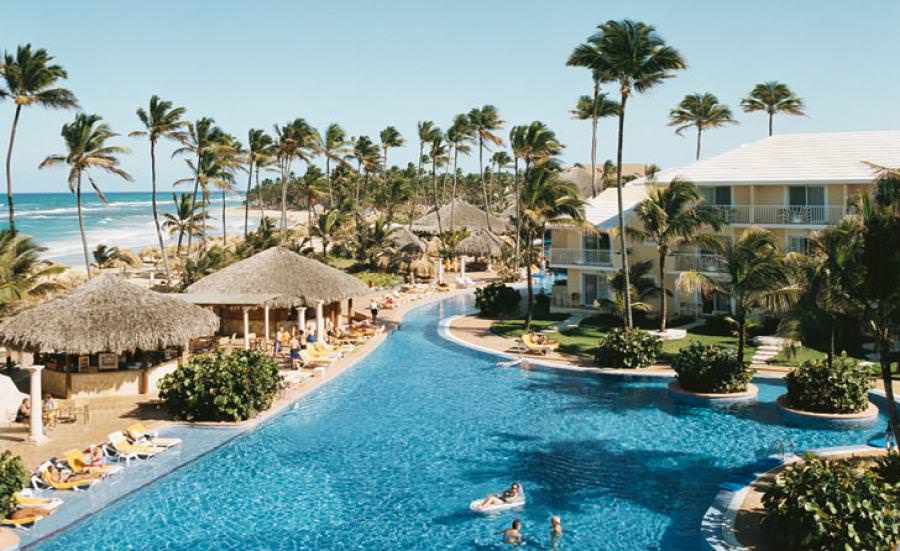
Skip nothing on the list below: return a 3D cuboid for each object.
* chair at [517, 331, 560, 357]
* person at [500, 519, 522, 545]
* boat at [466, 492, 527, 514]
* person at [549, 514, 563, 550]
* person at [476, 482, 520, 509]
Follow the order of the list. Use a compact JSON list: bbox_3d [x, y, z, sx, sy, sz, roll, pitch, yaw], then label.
[{"bbox_3d":[4.872,3.778,38.490,1.694,0.645,1.191,6,12,2],"label":"chair"},{"bbox_3d":[2.053,7.983,21.975,0.811,0.714,0.516,-11,13,-43],"label":"person"},{"bbox_3d":[1.534,7.731,23.524,1.135,0.301,0.797,-2,-4,-12],"label":"boat"},{"bbox_3d":[3.388,7.995,22.122,0.419,0.782,1.081,-1,9,8],"label":"person"},{"bbox_3d":[1.652,7.376,23.645,1.300,0.463,0.718,-11,3,-8],"label":"person"}]
